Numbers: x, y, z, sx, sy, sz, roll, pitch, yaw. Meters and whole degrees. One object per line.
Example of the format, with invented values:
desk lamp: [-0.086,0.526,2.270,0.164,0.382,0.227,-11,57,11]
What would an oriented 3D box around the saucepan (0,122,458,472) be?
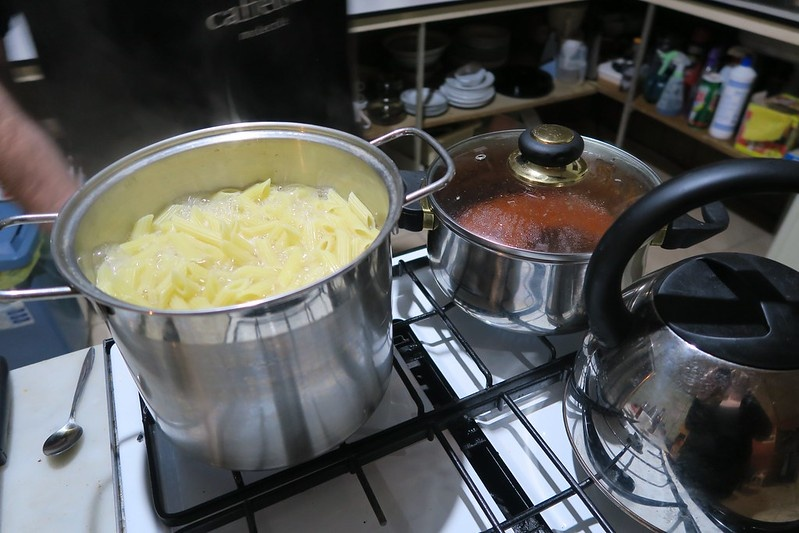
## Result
saucepan: [-0.200,0.086,0.875,0.642,0.342,0.441,-24,50,-22]

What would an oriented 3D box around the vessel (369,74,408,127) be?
vessel: [-0.041,-0.546,2.022,0.159,0.181,0.161,0,49,-1]

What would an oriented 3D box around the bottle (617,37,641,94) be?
bottle: [0.834,-0.749,2.120,0.042,0.190,0.155,13,45,14]

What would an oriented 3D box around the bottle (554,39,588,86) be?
bottle: [0.634,-0.751,2.142,0.104,0.171,0.113,-2,31,1]
